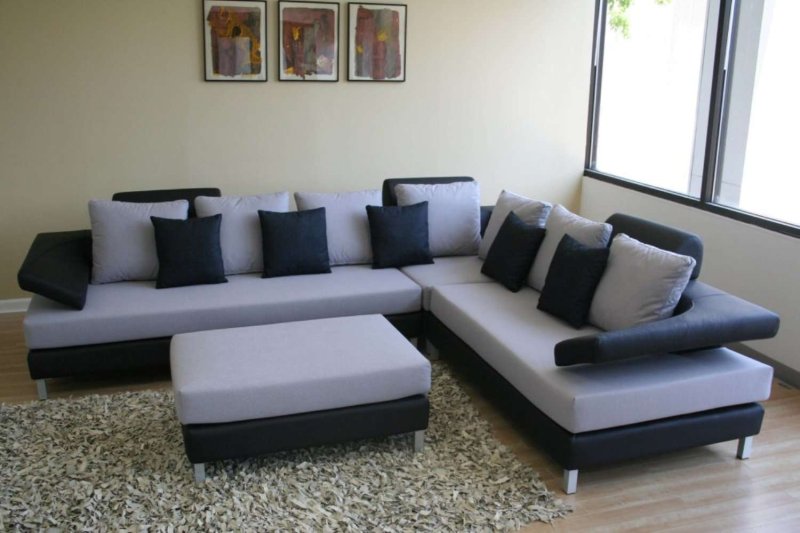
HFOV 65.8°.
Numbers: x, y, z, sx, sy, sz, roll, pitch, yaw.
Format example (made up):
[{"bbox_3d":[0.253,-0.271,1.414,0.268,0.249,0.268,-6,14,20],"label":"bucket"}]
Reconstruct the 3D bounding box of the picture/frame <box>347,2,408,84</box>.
[{"bbox_3d":[-0.262,-2.362,6.425,0.802,0.974,0.066,-2,10,-18],"label":"picture/frame"}]
